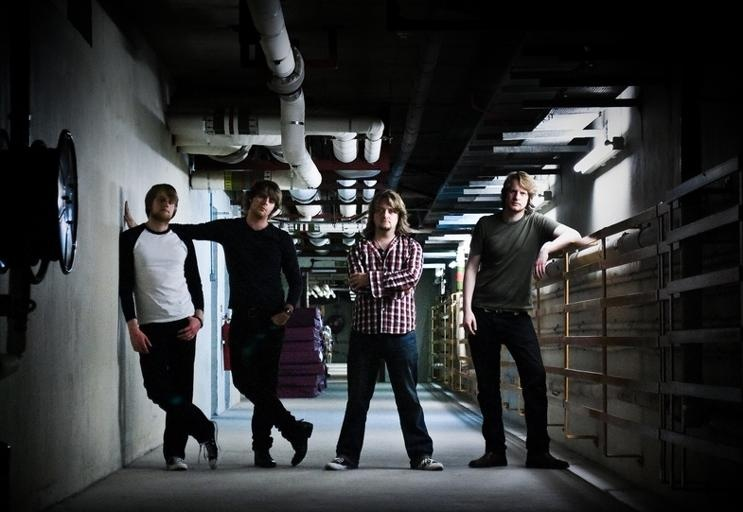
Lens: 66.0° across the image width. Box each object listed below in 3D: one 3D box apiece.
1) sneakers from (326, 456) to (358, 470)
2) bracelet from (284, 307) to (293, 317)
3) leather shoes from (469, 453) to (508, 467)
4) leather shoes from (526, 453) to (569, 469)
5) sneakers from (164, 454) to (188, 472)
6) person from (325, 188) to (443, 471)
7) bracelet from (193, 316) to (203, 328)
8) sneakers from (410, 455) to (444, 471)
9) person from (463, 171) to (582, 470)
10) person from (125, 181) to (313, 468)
[{"bbox_3d":[-0.229,1.577,4.377,0.260,0.096,0.092,6,-12,-16],"label":"sneakers"},{"bbox_3d":[-0.643,0.430,4.431,0.045,0.057,0.059,-10,-27,-3],"label":"bracelet"},{"bbox_3d":[0.899,1.573,4.446,0.317,0.115,0.109,1,-6,-2],"label":"leather shoes"},{"bbox_3d":[1.308,1.551,4.370,0.361,0.132,0.118,-1,-1,1],"label":"leather shoes"},{"bbox_3d":[-1.499,1.595,4.423,0.146,0.104,0.132,3,-7,-31],"label":"sneakers"},{"bbox_3d":[0.099,0.549,4.385,0.806,2.136,0.261,0,-6,-3],"label":"person"},{"bbox_3d":[-1.395,0.524,4.597,0.100,0.043,0.073,32,-31,-9],"label":"bracelet"},{"bbox_3d":[0.417,1.574,4.373,0.267,0.098,0.096,-4,-5,17],"label":"sneakers"},{"bbox_3d":[1.108,0.609,4.386,0.794,2.011,0.317,-1,-6,8],"label":"person"},{"bbox_3d":[-0.939,0.513,4.532,0.926,2.279,0.357,1,-6,-5],"label":"person"}]
